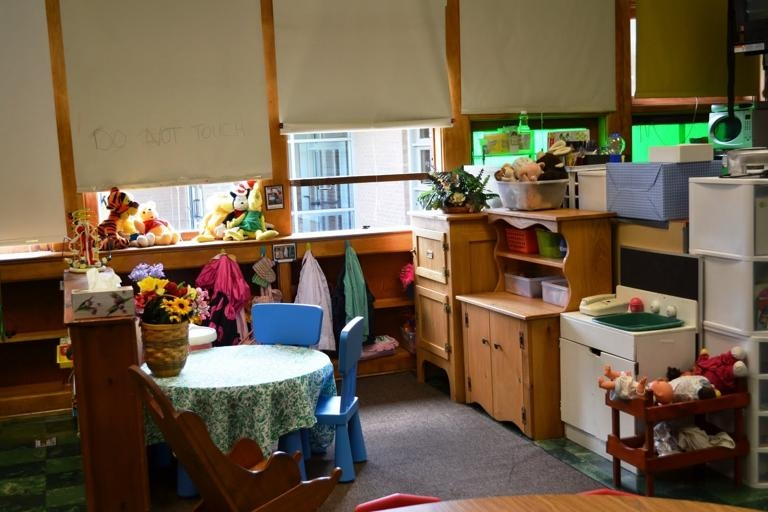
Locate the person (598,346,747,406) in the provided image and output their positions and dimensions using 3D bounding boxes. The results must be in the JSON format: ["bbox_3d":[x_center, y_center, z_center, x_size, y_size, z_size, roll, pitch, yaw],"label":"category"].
[{"bbox_3d":[1.880,0.801,3.744,0.698,0.260,0.428,-3,-6,8],"label":"person"}]

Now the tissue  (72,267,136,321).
[{"bbox_3d":[-1.680,0.250,3.542,0.317,0.203,0.328,-1,6,-18],"label":"tissue "}]

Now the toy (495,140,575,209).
[{"bbox_3d":[1.201,-0.614,4.711,0.603,0.575,0.448,-1,2,-15],"label":"toy"}]

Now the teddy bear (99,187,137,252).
[{"bbox_3d":[-2.488,-0.352,5.473,0.415,0.580,0.492,-2,4,-8],"label":"teddy bear"}]

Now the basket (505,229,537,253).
[{"bbox_3d":[1.148,-0.119,4.959,0.166,0.147,0.238,-2,1,-35],"label":"basket"}]

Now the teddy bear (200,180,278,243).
[{"bbox_3d":[-1.351,-0.355,5.759,0.915,0.779,0.531,0,2,-8],"label":"teddy bear"}]

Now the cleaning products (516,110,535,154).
[{"bbox_3d":[1.449,-1.288,6.108,0.239,0.418,0.243,0,17,19],"label":"cleaning products"}]

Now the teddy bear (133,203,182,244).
[{"bbox_3d":[-2.172,-0.287,5.524,0.364,0.490,0.475,-16,2,-18],"label":"teddy bear"}]
